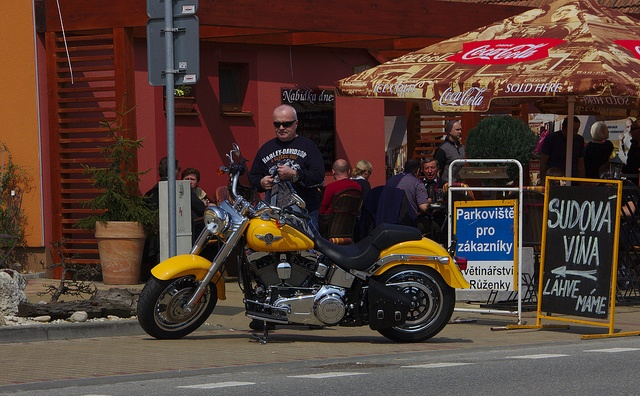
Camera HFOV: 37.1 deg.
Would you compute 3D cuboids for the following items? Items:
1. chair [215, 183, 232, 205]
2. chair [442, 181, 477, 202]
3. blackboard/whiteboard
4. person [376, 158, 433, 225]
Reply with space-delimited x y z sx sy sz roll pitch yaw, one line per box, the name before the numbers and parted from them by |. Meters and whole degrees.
chair | -1.301 -0.050 12.912 0.179 0.225 0.237 -1 0 -23
chair | 2.129 -0.142 14.970 0.344 0.195 0.462 10 -3 -39
blackboard/whiteboard | 3.650 0.760 13.527 1.060 2.027 0.553 3 8 22
person | 1.473 -0.094 16.522 1.102 1.450 0.714 9 17 36
